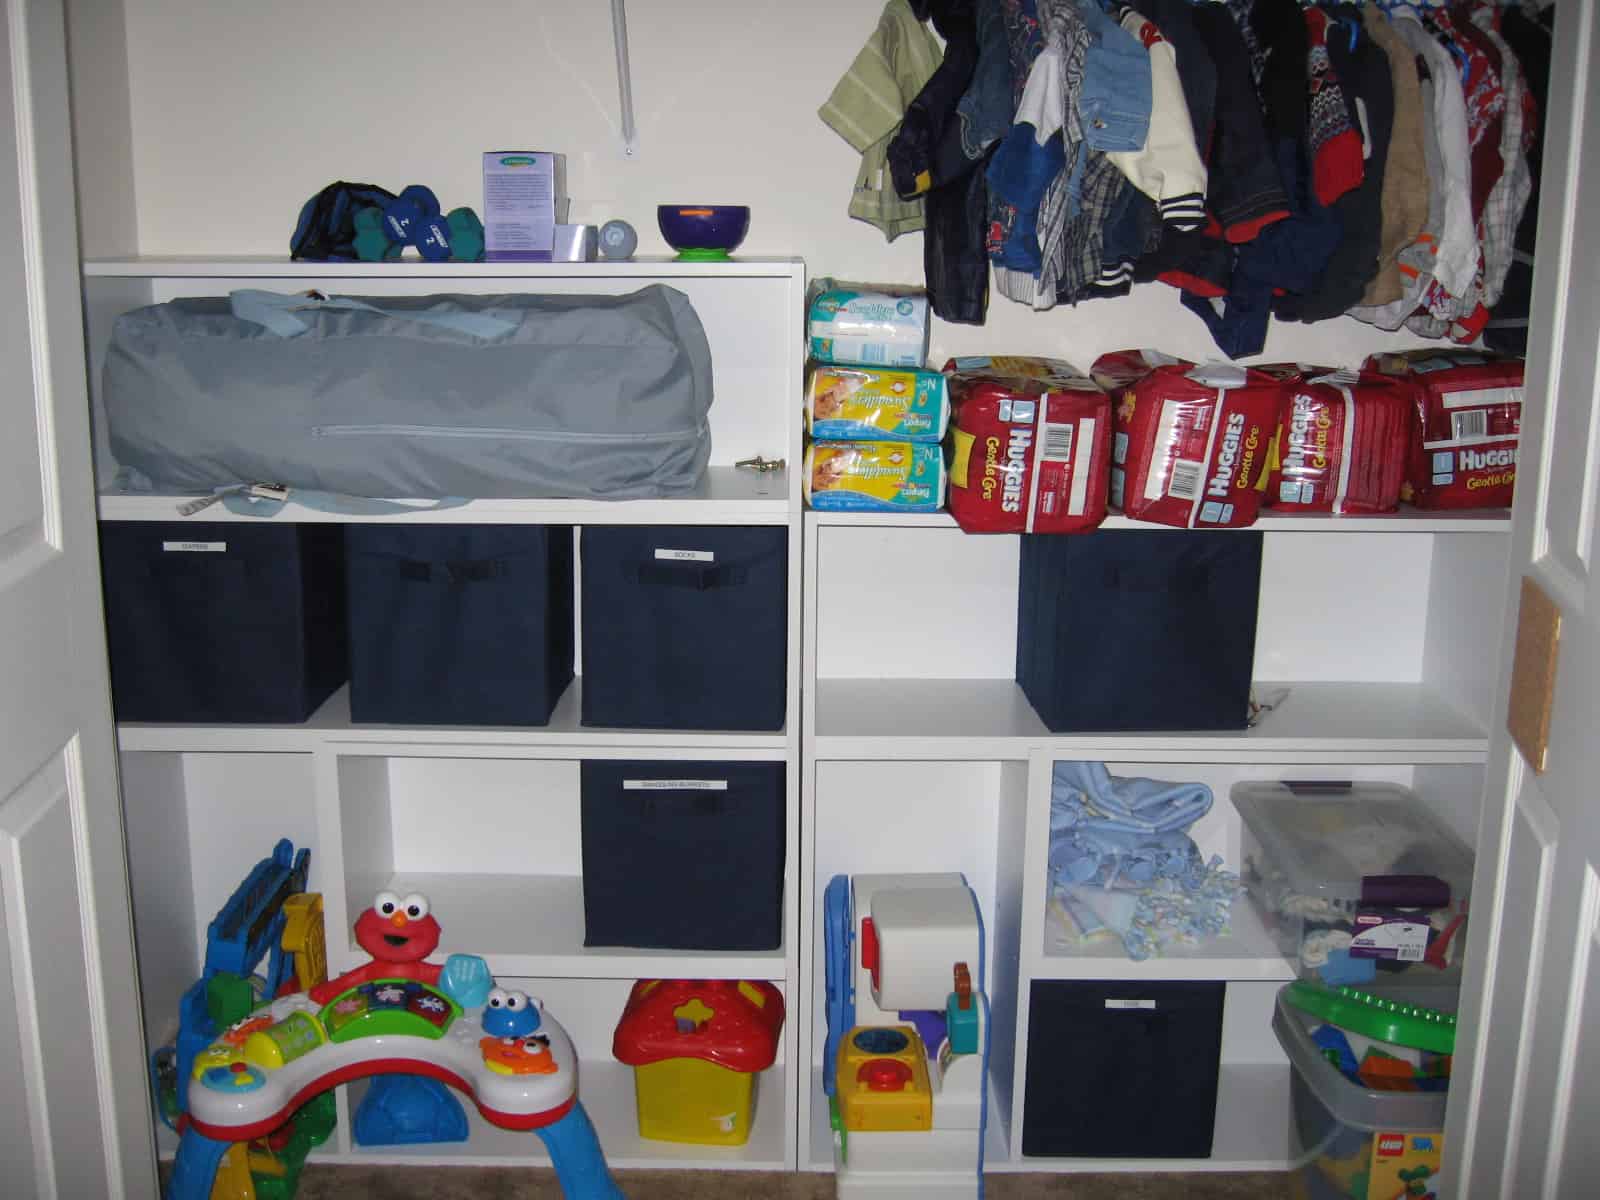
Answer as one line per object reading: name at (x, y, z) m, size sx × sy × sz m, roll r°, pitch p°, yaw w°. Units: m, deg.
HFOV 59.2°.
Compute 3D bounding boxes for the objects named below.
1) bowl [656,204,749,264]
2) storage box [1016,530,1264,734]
bowl at (-0.184, -0.694, 2.603) m, size 0.122 × 0.073 × 0.124 m, roll 1°, pitch 20°, yaw 0°
storage box at (0.661, 0.020, 2.814) m, size 0.375 × 0.389 × 0.392 m, roll -1°, pitch 7°, yaw -8°
